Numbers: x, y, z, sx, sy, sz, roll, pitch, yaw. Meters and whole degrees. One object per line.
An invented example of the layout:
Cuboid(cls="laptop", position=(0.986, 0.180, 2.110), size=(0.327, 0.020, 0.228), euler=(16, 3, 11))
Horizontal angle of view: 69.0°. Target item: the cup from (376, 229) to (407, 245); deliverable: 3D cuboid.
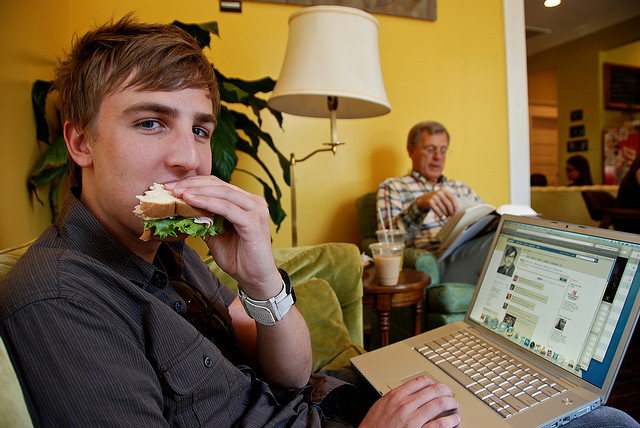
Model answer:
Cuboid(cls="cup", position=(0.379, 0.106, 2.446), size=(0.100, 0.077, 0.102), euler=(0, -1, 0))

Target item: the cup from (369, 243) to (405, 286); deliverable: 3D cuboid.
Cuboid(cls="cup", position=(0.338, 0.244, 2.307), size=(0.193, 0.193, 0.199), euler=(0, -4, 0))

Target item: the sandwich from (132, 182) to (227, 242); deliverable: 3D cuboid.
Cuboid(cls="sandwich", position=(-0.383, -0.035, 1.252), size=(0.149, 0.155, 0.201), euler=(12, 16, 39))
